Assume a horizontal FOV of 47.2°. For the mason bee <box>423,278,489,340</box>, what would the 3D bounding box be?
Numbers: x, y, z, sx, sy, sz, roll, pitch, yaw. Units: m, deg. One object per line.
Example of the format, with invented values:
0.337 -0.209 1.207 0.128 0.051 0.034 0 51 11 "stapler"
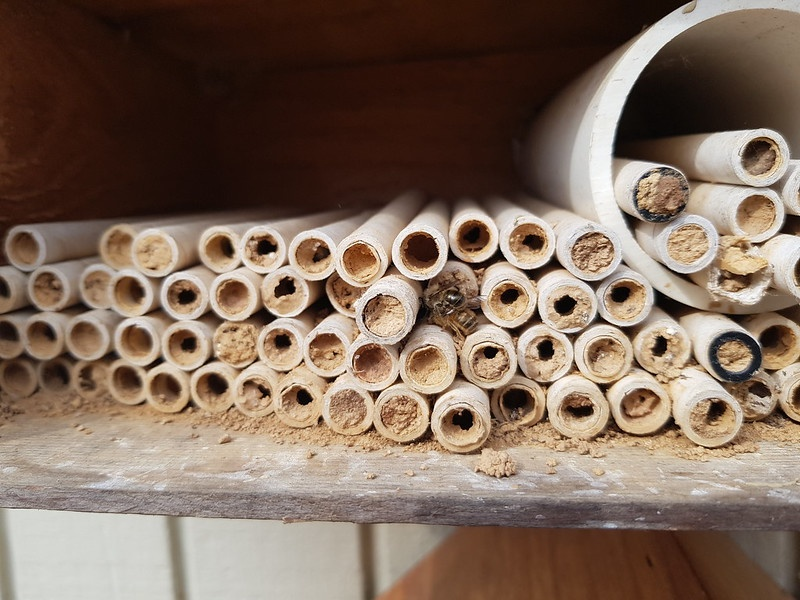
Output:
0.132 0.029 2.376 0.146 0.071 0.136 13 -67 25 "mason bee"
